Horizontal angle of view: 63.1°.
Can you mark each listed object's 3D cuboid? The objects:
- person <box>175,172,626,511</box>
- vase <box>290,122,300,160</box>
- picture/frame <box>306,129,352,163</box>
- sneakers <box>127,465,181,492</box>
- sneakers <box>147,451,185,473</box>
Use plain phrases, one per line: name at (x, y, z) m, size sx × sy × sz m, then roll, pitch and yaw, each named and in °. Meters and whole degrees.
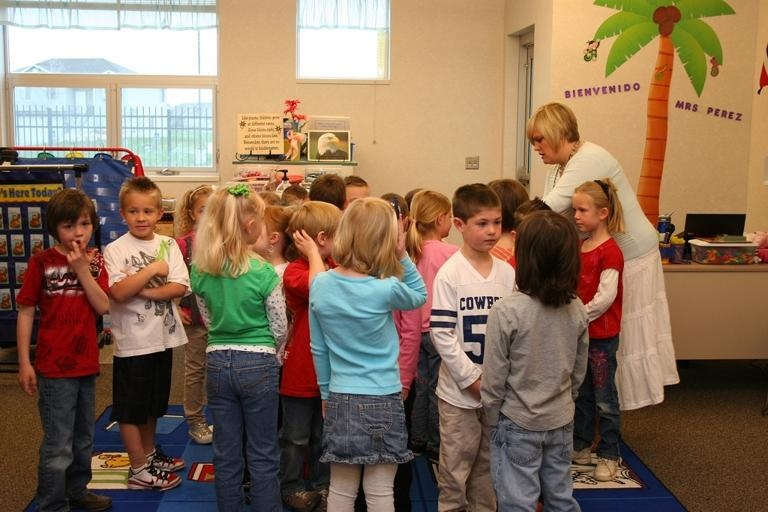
person at (-0.280, 0.492, 3.315) m, size 1.083 × 1.728 × 0.983 m, roll 0°, pitch 8°, yaw 5°
vase at (-0.825, -1.031, 5.910) m, size 0.115 × 0.262 × 0.110 m, roll -4°, pitch 9°, yaw -19°
picture/frame at (-0.524, -1.038, 5.959) m, size 0.342 × 0.249 × 0.022 m, roll 0°, pitch 4°, yaw -6°
sneakers at (-1.299, 1.264, 3.603) m, size 0.324 × 0.147 × 0.124 m, roll 1°, pitch 2°, yaw -9°
sneakers at (-1.269, 1.202, 3.660) m, size 0.230 × 0.101 × 0.082 m, roll 4°, pitch 8°, yaw -20°
